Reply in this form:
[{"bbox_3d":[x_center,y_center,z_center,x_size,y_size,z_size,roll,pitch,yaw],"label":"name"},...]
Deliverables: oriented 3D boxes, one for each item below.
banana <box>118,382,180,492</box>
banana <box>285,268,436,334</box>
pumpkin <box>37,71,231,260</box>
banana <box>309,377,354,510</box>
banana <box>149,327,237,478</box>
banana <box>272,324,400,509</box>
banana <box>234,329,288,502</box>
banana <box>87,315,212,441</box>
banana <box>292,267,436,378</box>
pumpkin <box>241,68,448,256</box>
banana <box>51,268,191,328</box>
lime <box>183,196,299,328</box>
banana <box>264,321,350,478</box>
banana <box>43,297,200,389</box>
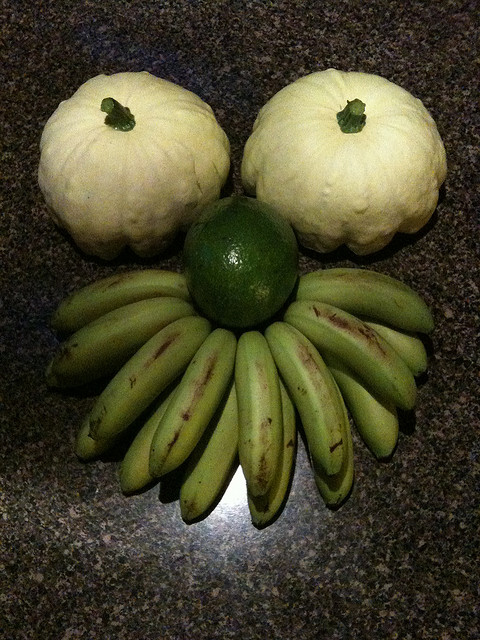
[{"bbox_3d":[-0.121,0.180,1.176,0.066,0.065,0.213,43,61,-26],"label":"banana"},{"bbox_3d":[0.198,-0.020,1.122,0.307,0.083,0.096,8,68,17],"label":"banana"},{"bbox_3d":[-0.191,-0.311,1.270,0.375,0.305,0.320,-8,73,-4],"label":"pumpkin"},{"bbox_3d":[0.149,0.207,1.169,0.064,0.067,0.200,-17,90,6],"label":"banana"},{"bbox_3d":[-0.069,0.123,1.071,0.078,0.091,0.274,25,71,14],"label":"banana"},{"bbox_3d":[0.133,0.135,1.116,0.192,0.077,0.304,-4,88,-38],"label":"banana"},{"bbox_3d":[0.040,0.143,1.051,0.073,0.084,0.242,-1,73,5],"label":"banana"},{"bbox_3d":[-0.151,0.073,1.106,0.095,0.093,0.306,39,51,5],"label":"banana"},{"bbox_3d":[0.229,0.007,1.201,0.094,0.330,0.177,13,102,-24],"label":"banana"},{"bbox_3d":[0.197,-0.307,1.271,0.390,0.263,0.354,17,74,13],"label":"pumpkin"},{"bbox_3d":[-0.186,-0.021,1.166,0.249,0.062,0.070,-9,91,28],"label":"banana"},{"bbox_3d":[0.000,-0.100,1.095,0.178,0.103,0.202,0,76,-2],"label":"lime"},{"bbox_3d":[0.114,0.109,1.093,0.091,0.071,0.258,-20,56,-8],"label":"banana"},{"bbox_3d":[-0.211,0.041,1.171,0.103,0.356,0.118,35,110,28],"label":"banana"}]
